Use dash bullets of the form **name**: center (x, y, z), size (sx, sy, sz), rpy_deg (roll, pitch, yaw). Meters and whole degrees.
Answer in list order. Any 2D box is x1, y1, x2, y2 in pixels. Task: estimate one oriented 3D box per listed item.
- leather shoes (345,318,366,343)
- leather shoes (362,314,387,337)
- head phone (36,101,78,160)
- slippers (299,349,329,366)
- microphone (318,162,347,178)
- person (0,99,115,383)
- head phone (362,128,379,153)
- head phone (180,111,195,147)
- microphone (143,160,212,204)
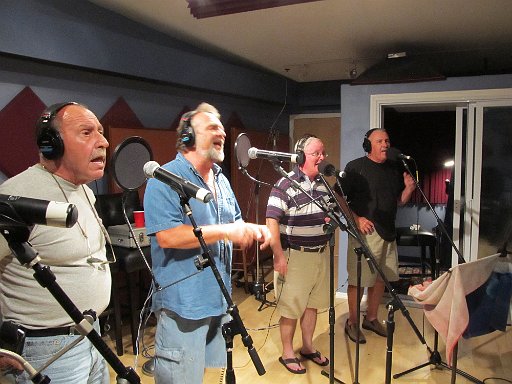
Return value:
- **leather shoes**: center (1.023, 1.438, 4.637), size (0.129, 0.159, 0.382), rpy_deg (5, 7, -15)
- **leather shoes**: center (1.240, 1.409, 4.757), size (0.334, 0.151, 0.145), rpy_deg (6, 10, 44)
- **head phone**: center (-1.153, -0.371, 2.658), size (0.125, 0.372, 0.368), rpy_deg (3, 1, 11)
- **slippers**: center (0.555, 1.550, 4.162), size (0.105, 0.071, 0.260), rpy_deg (0, 0, -43)
- **microphone**: center (0.603, -0.152, 3.418), size (0.081, 0.087, 0.313), rpy_deg (34, 1, -26)
- **person**: center (-1.124, 0.323, 2.478), size (0.609, 1.703, 0.499), rpy_deg (-3, 4, -28)
- **head phone**: center (1.218, -0.550, 4.653), size (0.124, 0.343, 0.331), rpy_deg (0, 2, 33)
- **head phone**: center (-0.474, -0.432, 2.936), size (0.078, 0.242, 0.177), rpy_deg (0, -8, -10)
- **microphone**: center (-0.484, -0.065, 2.688), size (0.322, 0.105, 0.087), rpy_deg (31, 47, 21)
